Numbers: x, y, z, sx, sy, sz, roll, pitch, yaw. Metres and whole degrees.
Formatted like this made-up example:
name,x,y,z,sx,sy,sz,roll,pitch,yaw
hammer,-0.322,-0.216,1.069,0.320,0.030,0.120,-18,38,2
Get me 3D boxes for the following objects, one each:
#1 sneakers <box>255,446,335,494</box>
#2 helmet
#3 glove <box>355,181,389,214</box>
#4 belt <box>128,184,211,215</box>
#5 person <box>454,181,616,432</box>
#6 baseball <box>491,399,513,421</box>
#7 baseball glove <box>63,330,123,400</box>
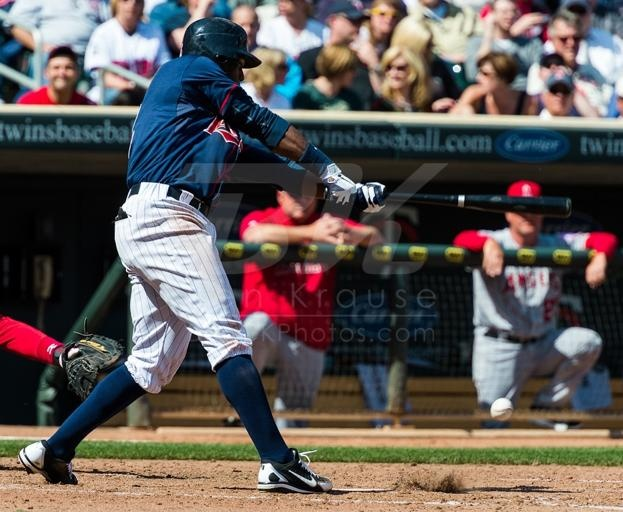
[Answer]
name,x,y,z,sx,sy,sz,roll,pitch,yaw
sneakers,-0.096,1.041,6.341,0.431,0.232,0.156,2,-7,-12
helmet,-0.449,-1.007,6.306,0.308,0.167,0.202,3,9,-9
glove,0.283,-0.276,6.412,0.135,0.117,0.136,-3,-1,13
belt,-0.576,-0.258,6.192,0.202,0.061,0.205,22,-11,11
person,1.217,0.262,7.596,0.873,1.220,0.371,3,1,2
baseball,1.048,0.868,7.520,0.124,0.120,0.187,3,1,8
baseball glove,-1.054,0.536,6.678,0.257,0.346,0.159,17,-8,13
